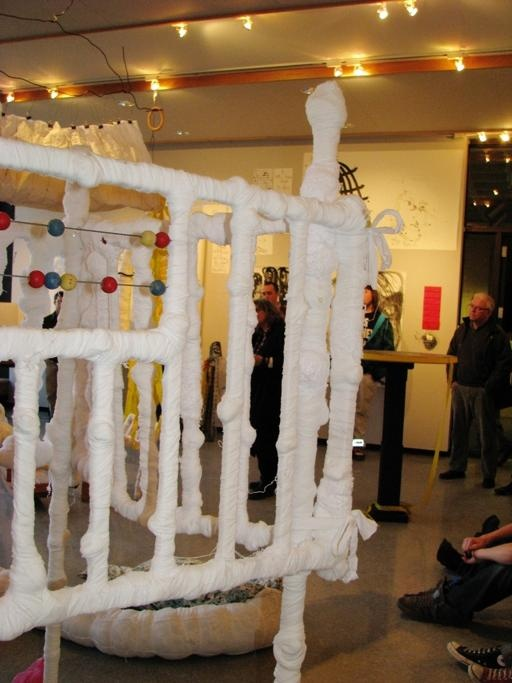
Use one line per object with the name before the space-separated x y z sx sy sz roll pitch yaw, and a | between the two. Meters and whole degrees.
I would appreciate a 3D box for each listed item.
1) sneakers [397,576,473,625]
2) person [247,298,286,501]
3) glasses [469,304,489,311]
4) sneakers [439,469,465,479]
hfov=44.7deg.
sneakers | 0.716 1.068 2.606 0.353 0.197 0.128 6 4 17
person | 0.063 0.376 4.119 0.235 1.301 0.579 5 3 0
glasses | 1.734 -0.253 4.849 0.051 0.034 0.129 2 4 -38
sneakers | 1.533 1.043 4.897 0.246 0.092 0.079 5 -2 -14
